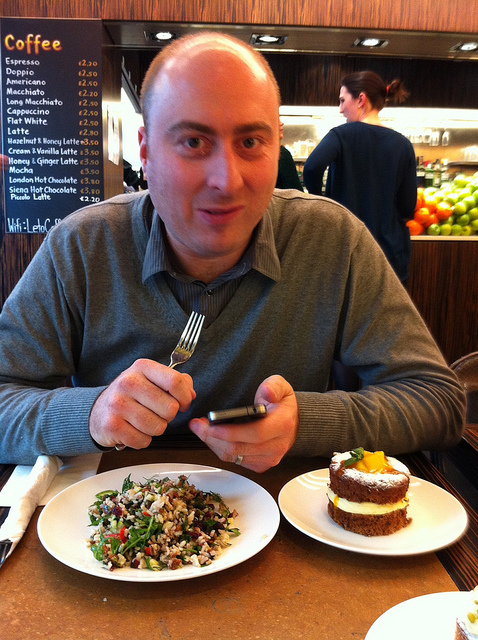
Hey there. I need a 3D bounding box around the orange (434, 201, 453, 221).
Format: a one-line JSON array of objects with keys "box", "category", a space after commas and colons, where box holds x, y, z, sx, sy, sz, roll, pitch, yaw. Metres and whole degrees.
[{"box": [1.497, -0.783, 3.545, 0.106, 0.120, 0.112, 13, 23, 39], "category": "orange"}]

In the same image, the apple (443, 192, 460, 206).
[{"box": [1.571, -0.889, 3.561, 0.090, 0.089, 0.049, -3, -22, 18], "category": "apple"}]

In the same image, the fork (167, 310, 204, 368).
[{"box": [-0.119, 0.038, 1.063, 0.021, 0.147, 0.016, 32, -22, -5], "category": "fork"}]

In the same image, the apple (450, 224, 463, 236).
[{"box": [1.598, -0.658, 3.554, 0.060, 0.076, 0.089, 14, 23, 41], "category": "apple"}]

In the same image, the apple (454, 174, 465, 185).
[{"box": [1.772, -1.127, 3.884, 0.074, 0.074, 0.156, 5, 25, 19], "category": "apple"}]

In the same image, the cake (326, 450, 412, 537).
[{"box": [0.209, 0.270, 0.770, 0.124, 0.077, 0.123, -7, 7, -29], "category": "cake"}]

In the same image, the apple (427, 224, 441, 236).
[{"box": [1.430, -0.650, 3.582, 0.084, 0.081, 0.086, 48, 29, 8], "category": "apple"}]

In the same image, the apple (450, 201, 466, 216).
[{"box": [1.602, -0.803, 3.510, 0.107, 0.083, 0.059, -34, 45, 3], "category": "apple"}]

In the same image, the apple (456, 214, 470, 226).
[{"box": [1.644, -0.729, 3.542, 0.079, 0.083, 0.083, -9, 36, 50], "category": "apple"}]

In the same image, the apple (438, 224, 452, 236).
[{"box": [1.508, -0.654, 3.534, 0.081, 0.078, 0.074, 3, -17, 9], "category": "apple"}]

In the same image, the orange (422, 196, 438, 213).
[{"box": [1.403, -0.846, 3.602, 0.107, 0.126, 0.105, 11, -23, -2], "category": "orange"}]

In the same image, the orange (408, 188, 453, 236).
[{"box": [1.495, -0.796, 3.604, 0.259, 0.092, 0.237, 29, 15, -20], "category": "orange"}]

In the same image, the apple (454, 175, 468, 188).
[{"box": [1.778, -1.100, 3.870, 0.102, 0.082, 0.181, 6, 19, 23], "category": "apple"}]

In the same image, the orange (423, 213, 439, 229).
[{"box": [1.418, -0.726, 3.584, 0.106, 0.105, 0.106, 20, 6, -6], "category": "orange"}]

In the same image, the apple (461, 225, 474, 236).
[{"box": [1.697, -0.663, 3.592, 0.051, 0.055, 0.063, 18, 38, 6], "category": "apple"}]

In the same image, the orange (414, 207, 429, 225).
[{"box": [1.329, -0.750, 3.548, 0.102, 0.102, 0.099, 36, 26, -49], "category": "orange"}]

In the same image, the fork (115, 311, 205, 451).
[{"box": [-0.151, 0.107, 0.934, 0.043, 0.315, 0.037, 32, -8, 12], "category": "fork"}]
